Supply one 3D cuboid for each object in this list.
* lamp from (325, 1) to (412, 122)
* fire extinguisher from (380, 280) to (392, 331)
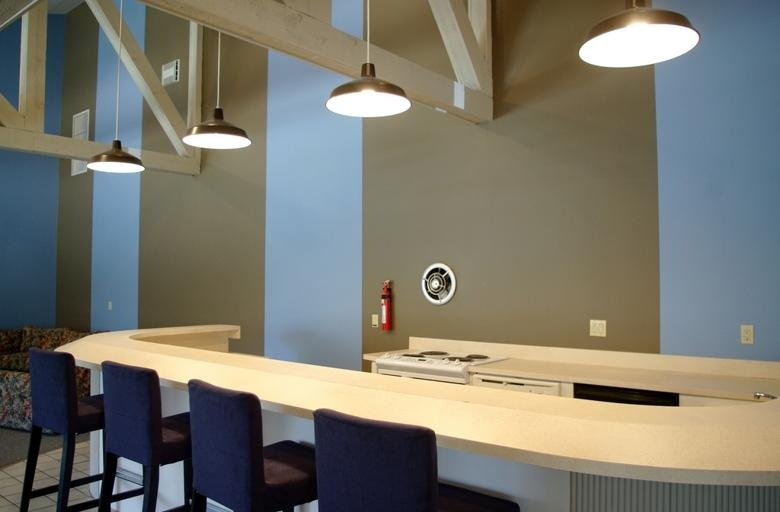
[{"bbox_3d":[-0.198,-1.616,4.758,0.567,1.115,1.606,-1,7,-4],"label":"lamp"},{"bbox_3d":[-0.033,0.515,6.256,0.131,0.528,0.128,-1,7,-1],"label":"fire extinguisher"}]
